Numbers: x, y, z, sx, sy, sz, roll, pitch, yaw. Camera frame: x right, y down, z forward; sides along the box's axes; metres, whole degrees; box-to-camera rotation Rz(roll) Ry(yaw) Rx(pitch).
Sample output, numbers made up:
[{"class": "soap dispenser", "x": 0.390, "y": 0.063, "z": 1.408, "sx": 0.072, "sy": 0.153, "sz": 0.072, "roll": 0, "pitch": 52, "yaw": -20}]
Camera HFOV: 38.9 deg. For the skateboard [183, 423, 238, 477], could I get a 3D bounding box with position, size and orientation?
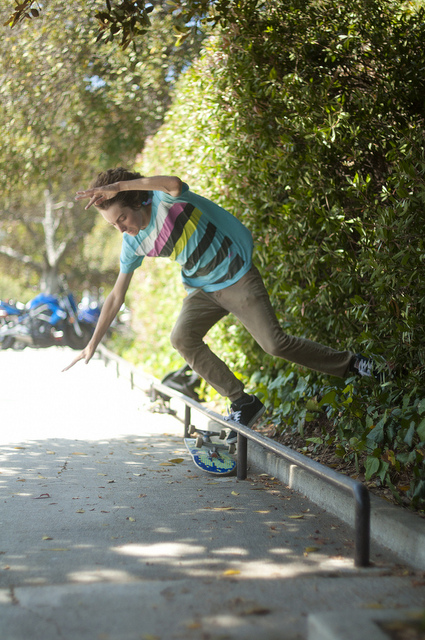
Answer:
[{"class": "skateboard", "x": -0.015, "y": 0.924, "z": 4.300, "sx": 0.357, "sy": 0.302, "sz": 0.669, "roll": -1, "pitch": -1, "yaw": -2}]
